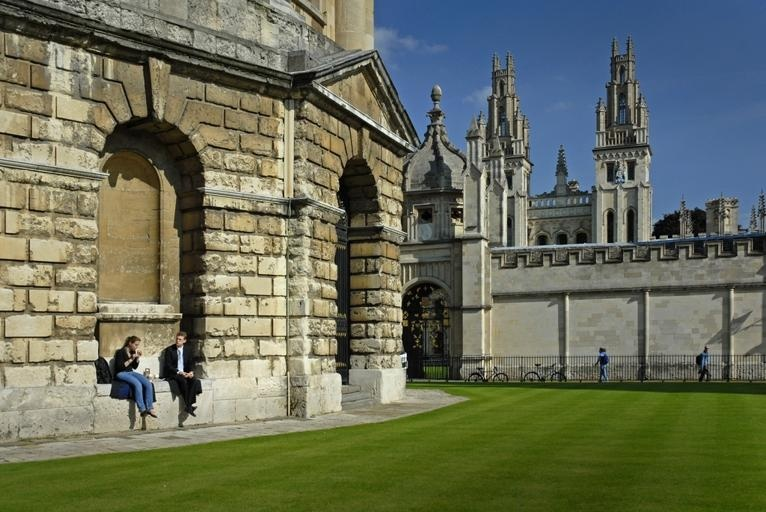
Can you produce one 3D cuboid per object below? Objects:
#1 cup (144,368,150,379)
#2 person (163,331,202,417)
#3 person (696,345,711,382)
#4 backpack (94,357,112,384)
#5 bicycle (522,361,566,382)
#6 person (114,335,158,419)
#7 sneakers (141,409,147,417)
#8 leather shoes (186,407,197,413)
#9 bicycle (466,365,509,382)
[{"bbox_3d":[-5.877,2.866,27.439,0.149,0.193,0.330,2,-17,-7],"label":"cup"},{"bbox_3d":[-4.972,2.880,27.473,0.904,2.005,0.401,1,-9,-10],"label":"person"},{"bbox_3d":[13.322,4.413,46.331,0.550,1.452,2.155,-4,-9,16],"label":"person"},{"bbox_3d":[-6.740,2.703,26.620,0.377,0.609,0.251,1,-10,-15],"label":"backpack"},{"bbox_3d":[7.099,5.054,49.225,1.770,0.923,0.837,-2,-1,5],"label":"bicycle"},{"bbox_3d":[-6.017,2.876,26.773,1.036,1.926,0.550,1,-10,-12],"label":"person"},{"bbox_3d":[-5.807,3.743,26.724,0.140,0.128,0.144,-4,7,-33],"label":"sneakers"},{"bbox_3d":[-4.770,3.750,27.395,0.125,0.181,0.332,-4,-9,17],"label":"leather shoes"},{"bbox_3d":[4.557,5.182,49.672,1.562,0.788,0.746,-2,-4,1],"label":"bicycle"}]
